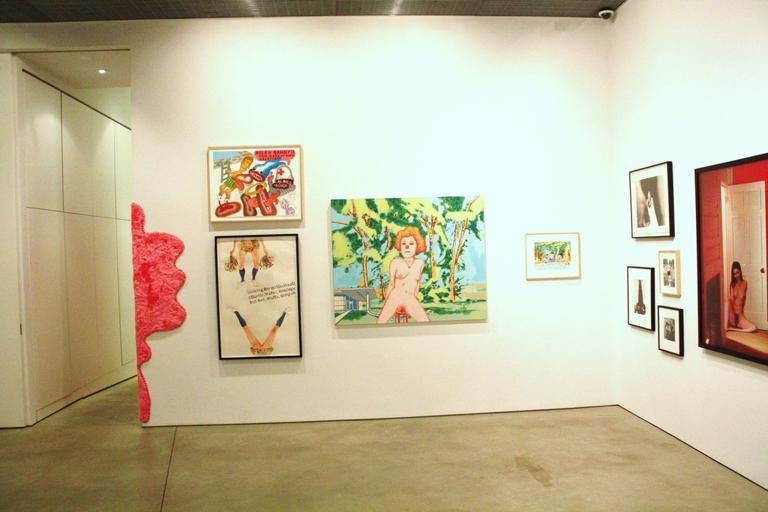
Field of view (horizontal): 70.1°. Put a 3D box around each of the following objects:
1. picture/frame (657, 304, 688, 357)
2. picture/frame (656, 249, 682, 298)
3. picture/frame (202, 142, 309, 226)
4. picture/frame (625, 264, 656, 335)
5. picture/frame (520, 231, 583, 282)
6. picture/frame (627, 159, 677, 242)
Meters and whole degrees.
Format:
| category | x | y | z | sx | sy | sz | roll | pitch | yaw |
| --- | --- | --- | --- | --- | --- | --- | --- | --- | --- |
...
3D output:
| category | x | y | z | sx | sy | sz | roll | pitch | yaw |
| --- | --- | --- | --- | --- | --- | --- | --- | --- | --- |
| picture/frame | 2.931 | 0.767 | 5.648 | 0.074 | 0.496 | 0.287 | -1 | 2 | -22 |
| picture/frame | 2.920 | 0.184 | 5.659 | 0.051 | 0.480 | 0.237 | -1 | 2 | -21 |
| picture/frame | -1.482 | -0.800 | 6.094 | 0.953 | 0.732 | 0.040 | 0 | -2 | -3 |
| picture/frame | 2.748 | 0.448 | 5.973 | 0.385 | 0.645 | 0.039 | 9 | -12 | -23 |
| picture/frame | 1.856 | 0.004 | 6.265 | 0.601 | 0.466 | 0.023 | 0 | -2 | -2 |
| picture/frame | 2.808 | -0.576 | 5.823 | 0.092 | 0.787 | 0.519 | -1 | 2 | -22 |
